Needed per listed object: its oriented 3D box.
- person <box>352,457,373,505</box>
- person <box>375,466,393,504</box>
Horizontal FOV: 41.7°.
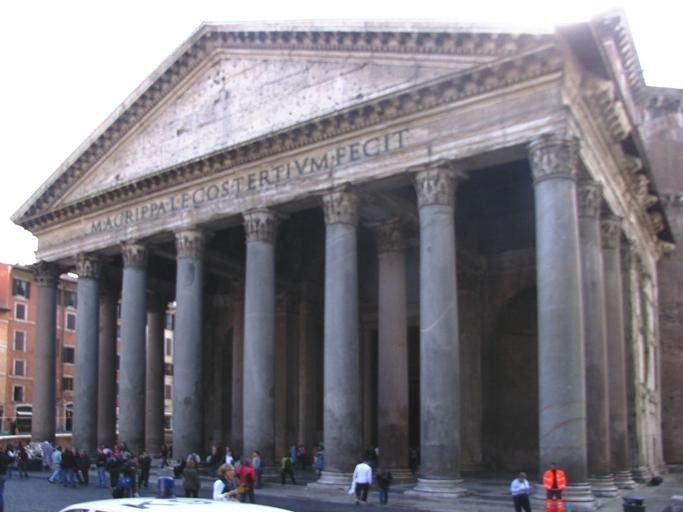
[{"bbox_3d":[0.684,7.623,30.462,0.687,1.486,1.405,-3,-17,1],"label":"person"},{"bbox_3d":[1.450,7.744,30.237,0.499,1.178,0.778,-3,-17,2],"label":"person"}]
